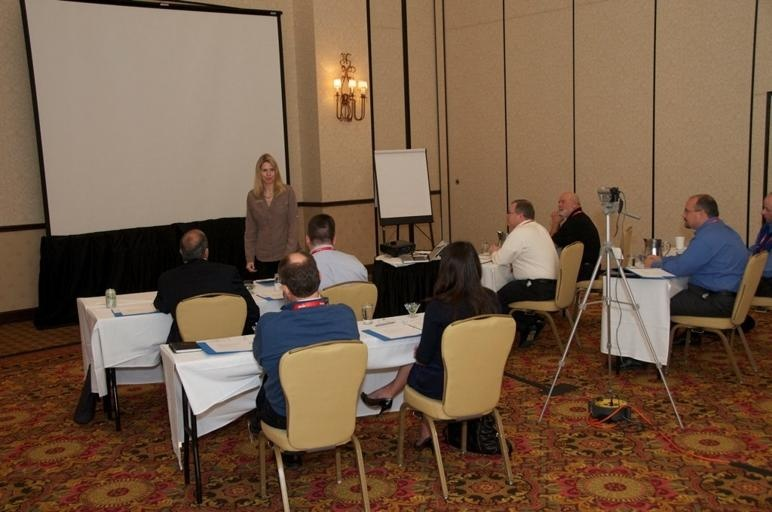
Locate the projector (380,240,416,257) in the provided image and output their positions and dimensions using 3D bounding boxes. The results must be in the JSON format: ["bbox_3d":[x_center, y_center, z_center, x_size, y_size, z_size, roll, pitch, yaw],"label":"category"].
[{"bbox_3d":[0.088,-0.110,7.844,0.256,0.109,0.254,-8,12,-35],"label":"projector"}]

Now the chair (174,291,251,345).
[{"bbox_3d":[-1.545,0.531,5.590,0.430,0.637,0.472,-3,13,-24],"label":"chair"}]

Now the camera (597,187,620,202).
[{"bbox_3d":[2.005,-0.549,5.747,0.176,0.140,0.176,1,2,-11],"label":"camera"}]

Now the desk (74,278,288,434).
[{"bbox_3d":[-2.520,0.735,6.221,1.705,0.919,1.160,-9,22,-28],"label":"desk"}]

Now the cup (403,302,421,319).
[{"bbox_3d":[0.220,0.476,5.715,0.163,0.128,0.158,1,5,0],"label":"cup"}]

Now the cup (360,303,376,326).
[{"bbox_3d":[-0.165,0.512,5.617,0.134,0.231,0.149,-1,4,-16],"label":"cup"}]

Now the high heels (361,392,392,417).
[{"bbox_3d":[-0.151,1.286,5.481,0.348,0.164,0.122,7,6,-12],"label":"high heels"}]

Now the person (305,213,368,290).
[{"bbox_3d":[-0.580,-0.091,7.142,0.716,0.889,0.458,-14,28,-6],"label":"person"}]

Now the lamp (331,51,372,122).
[{"bbox_3d":[-0.601,-2.773,10.361,0.619,1.109,0.177,-11,13,-38],"label":"lamp"}]

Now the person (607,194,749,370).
[{"bbox_3d":[2.887,0.075,6.371,1.159,1.964,0.846,3,8,34],"label":"person"}]

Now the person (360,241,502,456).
[{"bbox_3d":[0.382,0.784,5.081,1.012,1.783,0.688,-1,10,10],"label":"person"}]

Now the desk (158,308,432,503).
[{"bbox_3d":[-1.143,1.571,5.606,2.519,1.349,1.105,-6,24,-18],"label":"desk"}]
